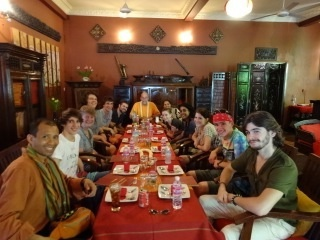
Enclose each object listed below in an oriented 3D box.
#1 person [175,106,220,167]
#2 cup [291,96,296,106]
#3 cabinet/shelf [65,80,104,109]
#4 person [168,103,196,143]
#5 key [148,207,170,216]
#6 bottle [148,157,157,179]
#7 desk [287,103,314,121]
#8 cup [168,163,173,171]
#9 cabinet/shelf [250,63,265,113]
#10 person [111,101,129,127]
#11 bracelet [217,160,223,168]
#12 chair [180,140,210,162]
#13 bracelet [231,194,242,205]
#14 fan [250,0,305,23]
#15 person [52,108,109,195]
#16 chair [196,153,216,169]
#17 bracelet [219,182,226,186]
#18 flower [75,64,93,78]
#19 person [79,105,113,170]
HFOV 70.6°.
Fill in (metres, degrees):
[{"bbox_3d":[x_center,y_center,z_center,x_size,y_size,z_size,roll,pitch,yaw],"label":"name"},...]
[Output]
[{"bbox_3d":[0.609,0.473,3.847,0.747,1.315,0.571,-6,8,-10],"label":"person"},{"bbox_3d":[4.759,-0.668,8.056,0.115,0.435,0.131,7,-29,17],"label":"cup"},{"bbox_3d":[-2.137,-0.729,6.221,1.017,1.114,0.536,0,15,-8],"label":"cabinet/shelf"},{"bbox_3d":[0.455,0.006,4.852,0.647,0.961,0.623,-4,19,2],"label":"person"},{"bbox_3d":[-0.004,0.802,1.999,0.224,0.073,0.059,-2,11,-1],"label":"key"},{"bbox_3d":[-0.082,0.537,2.508,0.131,0.239,0.137,0,3,0],"label":"bottle"},{"bbox_3d":[4.746,-0.263,7.696,0.620,0.654,0.645,-2,7,-13],"label":"desk"},{"bbox_3d":[0.116,0.562,2.687,0.046,0.089,0.062,2,-6,-29],"label":"cup"},{"bbox_3d":[3.243,-1.086,7.530,0.621,1.611,0.155,-5,9,-25],"label":"cabinet/shelf"},{"bbox_3d":[-1.078,-0.183,6.061,0.410,0.734,0.437,22,31,25],"label":"person"},{"bbox_3d":[0.841,0.629,3.179,0.053,0.075,0.069,8,1,-42],"label":"bracelet"},{"bbox_3d":[0.556,0.443,3.737,0.396,0.509,0.373,-1,10,-5],"label":"chair"},{"bbox_3d":[0.758,0.796,2.235,0.105,0.101,0.080,-9,11,-42],"label":"bracelet"},{"bbox_3d":[3.287,-3.144,6.439,1.262,0.547,1.260,-9,18,-34],"label":"fan"},{"bbox_3d":[-1.021,0.368,2.889,0.623,0.927,0.583,4,2,15],"label":"person"},{"bbox_3d":[0.727,0.652,3.556,0.168,0.250,0.211,-2,4,-21],"label":"chair"},{"bbox_3d":[0.692,0.709,2.510,0.053,0.015,0.054,1,1,1],"label":"bracelet"},{"bbox_3d":[-2.337,-1.531,7.025,0.469,0.362,0.468,1,3,-1],"label":"flower"},{"bbox_3d":[-1.088,0.297,3.801,0.652,1.017,0.619,-8,-5,27],"label":"person"}]
